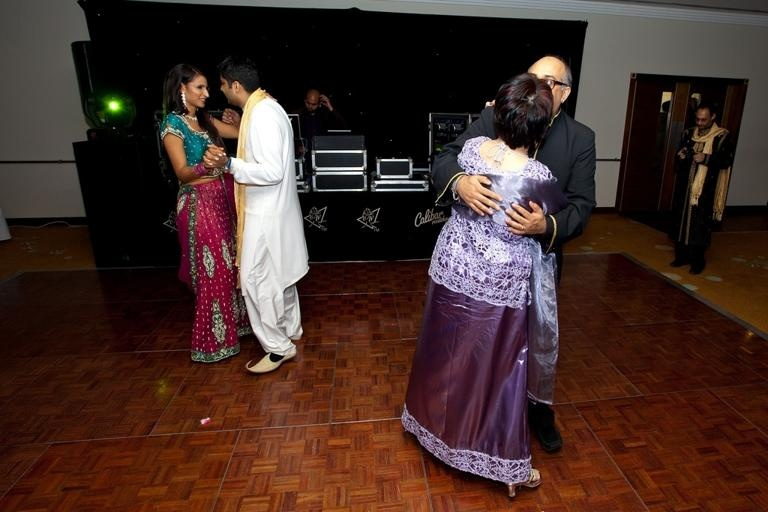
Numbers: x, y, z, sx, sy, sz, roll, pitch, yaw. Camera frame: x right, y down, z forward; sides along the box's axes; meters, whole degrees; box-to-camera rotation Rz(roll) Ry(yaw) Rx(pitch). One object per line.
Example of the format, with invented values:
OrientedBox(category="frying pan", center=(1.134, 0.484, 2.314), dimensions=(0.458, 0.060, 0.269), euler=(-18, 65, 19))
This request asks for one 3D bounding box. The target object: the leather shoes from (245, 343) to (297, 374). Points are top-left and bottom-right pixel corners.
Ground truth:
OrientedBox(category="leather shoes", center=(-0.915, 0.848, 3.917), dimensions=(0.384, 0.116, 0.171), euler=(-19, 19, -38))

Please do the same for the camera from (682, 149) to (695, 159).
OrientedBox(category="camera", center=(3.473, -1.153, 5.501), dimensions=(0.088, 0.131, 0.054), euler=(5, 3, 36))

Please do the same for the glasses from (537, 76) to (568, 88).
OrientedBox(category="glasses", center=(1.056, -1.065, 2.973), dimensions=(0.146, 0.046, 0.141), euler=(1, 14, -35))

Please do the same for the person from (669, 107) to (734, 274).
OrientedBox(category="person", center=(3.553, -0.765, 5.454), dimensions=(0.531, 1.779, 0.733), euler=(12, 24, 29))

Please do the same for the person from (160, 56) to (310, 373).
OrientedBox(category="person", center=(-1.122, -0.294, 3.801), dimensions=(0.972, 2.334, 0.729), euler=(5, 21, 14))

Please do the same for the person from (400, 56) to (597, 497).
OrientedBox(category="person", center=(0.797, 0.201, 2.998), dimensions=(1.179, 2.463, 0.760), euler=(-13, 24, -30))

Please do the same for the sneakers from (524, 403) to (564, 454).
OrientedBox(category="sneakers", center=(1.094, 1.176, 3.384), dimensions=(0.145, 0.186, 0.436), euler=(-5, 11, -4))
